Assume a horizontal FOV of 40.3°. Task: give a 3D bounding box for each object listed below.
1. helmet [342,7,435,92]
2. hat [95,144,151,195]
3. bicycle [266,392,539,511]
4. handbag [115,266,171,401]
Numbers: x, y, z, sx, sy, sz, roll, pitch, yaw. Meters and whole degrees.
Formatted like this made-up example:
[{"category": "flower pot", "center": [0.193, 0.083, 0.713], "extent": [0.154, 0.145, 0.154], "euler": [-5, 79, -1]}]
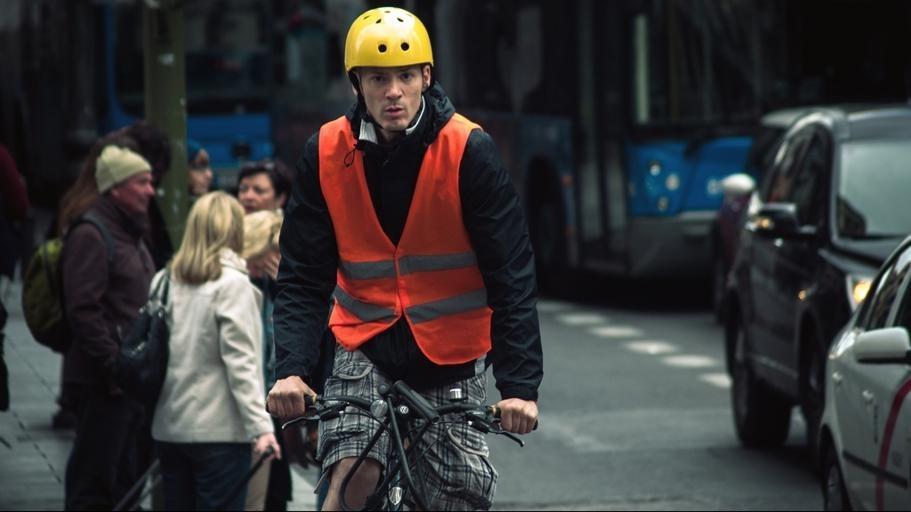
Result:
[{"category": "helmet", "center": [-0.426, -1.276, 7.642], "extent": [0.386, 0.438, 0.510], "euler": [-3, -2, -2]}, {"category": "hat", "center": [-2.401, -0.652, 9.032], "extent": [0.255, 0.202, 0.263], "euler": [-28, 5, -25]}, {"category": "bicycle", "center": [-0.279, 1.060, 7.324], "extent": [0.779, 0.796, 1.259], "euler": [5, -13, 10]}, {"category": "handbag", "center": [-2.235, 0.625, 8.933], "extent": [0.244, 0.736, 0.402], "euler": [0, 14, -37]}]
